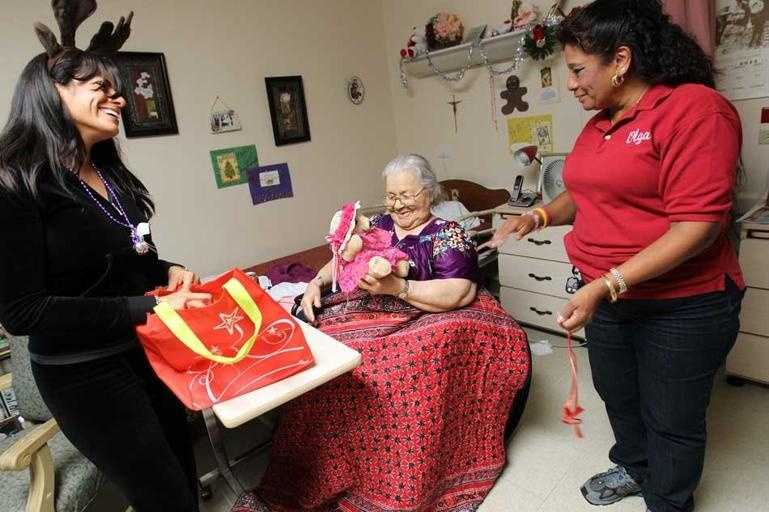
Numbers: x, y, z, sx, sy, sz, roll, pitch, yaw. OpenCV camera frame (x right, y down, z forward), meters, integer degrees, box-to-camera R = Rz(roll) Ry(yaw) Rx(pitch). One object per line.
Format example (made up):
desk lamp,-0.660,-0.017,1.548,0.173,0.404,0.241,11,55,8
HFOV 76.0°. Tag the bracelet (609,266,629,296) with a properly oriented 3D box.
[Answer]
bracelet,0.818,0.084,1.721,0.053,0.095,0.089,-16,-1,4

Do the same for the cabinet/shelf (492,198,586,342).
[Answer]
cabinet/shelf,1.006,0.192,3.472,0.624,0.743,0.443,8,-21,-10

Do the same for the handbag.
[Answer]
handbag,-0.573,0.268,1.759,0.544,0.179,0.662,-3,33,-16

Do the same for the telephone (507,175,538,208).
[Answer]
telephone,0.958,-0.465,3.447,0.186,0.190,0.202,-16,22,-23

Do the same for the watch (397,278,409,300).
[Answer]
watch,0.082,0.146,2.179,0.038,0.070,0.070,14,-33,-5

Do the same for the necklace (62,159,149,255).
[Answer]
necklace,-1.034,-0.202,1.831,0.044,0.422,0.139,-44,-9,32

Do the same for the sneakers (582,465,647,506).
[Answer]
sneakers,1.015,1.044,2.250,0.308,0.126,0.141,-9,-18,12

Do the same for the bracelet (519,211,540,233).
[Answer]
bracelet,0.615,-0.152,2.127,0.091,0.045,0.076,15,25,37

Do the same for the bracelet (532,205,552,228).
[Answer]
bracelet,0.673,-0.171,2.125,0.030,0.082,0.083,-12,-26,6
